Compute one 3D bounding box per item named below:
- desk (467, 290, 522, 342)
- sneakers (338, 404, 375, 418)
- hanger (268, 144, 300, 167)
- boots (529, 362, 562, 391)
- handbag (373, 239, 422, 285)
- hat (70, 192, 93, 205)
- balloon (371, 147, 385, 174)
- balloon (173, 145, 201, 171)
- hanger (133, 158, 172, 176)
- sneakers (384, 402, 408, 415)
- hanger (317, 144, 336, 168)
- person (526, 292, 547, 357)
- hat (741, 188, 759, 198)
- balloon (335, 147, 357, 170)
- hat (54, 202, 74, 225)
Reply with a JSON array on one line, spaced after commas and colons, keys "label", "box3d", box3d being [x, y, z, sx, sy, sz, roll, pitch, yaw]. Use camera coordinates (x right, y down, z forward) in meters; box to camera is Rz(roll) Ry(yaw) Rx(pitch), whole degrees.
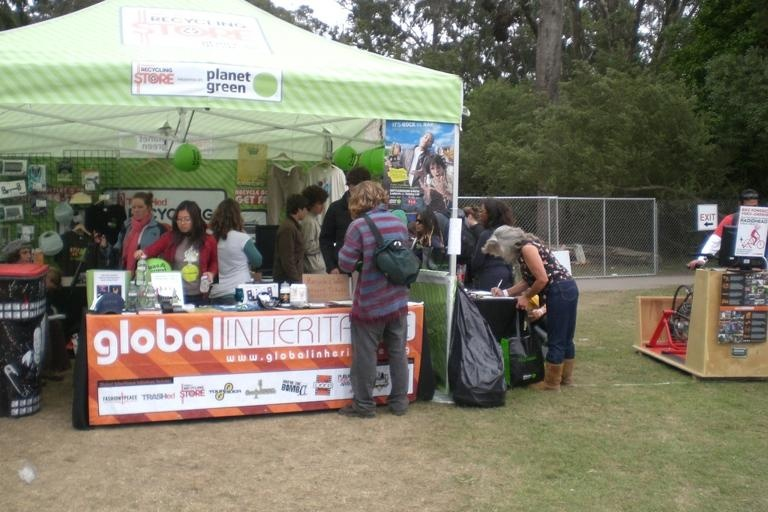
[{"label": "desk", "box3d": [1.465, 0.806, 9.919, 0.599, 0.402, 0.603, -1, 2, -33]}, {"label": "sneakers", "box3d": [-0.342, 1.915, 9.095, 0.408, 0.186, 0.164, 4, 1, 19]}, {"label": "hanger", "box3d": [-1.859, -1.789, 13.458, 0.469, 0.231, 0.480, 0, 9, -15]}, {"label": "boots", "box3d": [2.245, 1.647, 10.007, 0.467, 0.481, 0.263, 3, 7, 23]}, {"label": "handbag", "box3d": [0.125, 0.077, 8.757, 0.294, 0.322, 0.446, -18, -51, 34]}, {"label": "hat", "box3d": [-5.040, -0.939, 12.199, 0.226, 0.110, 0.234, 1, 12, 0]}, {"label": "balloon", "box3d": [-0.080, -1.411, 10.951, 0.150, 0.446, 0.404, -4, 15, -21]}, {"label": "balloon", "box3d": [-3.178, -1.580, 11.833, 0.389, 0.445, 0.323, -1, 14, -8]}, {"label": "hanger", "box3d": [-4.069, -1.562, 12.993, 0.461, 0.318, 0.112, 0, 3, -8]}, {"label": "sneakers", "box3d": [0.157, 1.899, 9.151, 0.188, 0.132, 0.151, -6, -9, 20]}, {"label": "hanger", "box3d": [-0.999, -1.745, 12.743, 0.229, 0.417, 0.243, -2, 14, -13]}, {"label": "person", "box3d": [2.166, 0.972, 10.163, 0.256, 0.758, 0.530, 0, 1, -8]}, {"label": "hat", "box3d": [5.477, -0.928, 11.045, 0.338, 0.112, 0.197, -10, 18, -38]}, {"label": "balloon", "box3d": [-0.664, -1.622, 12.291, 0.390, 0.427, 0.396, 0, 14, -5]}, {"label": "hat", "box3d": [-5.239, -0.700, 12.174, 0.266, 0.316, 0.332, 3, -8, 9]}]
